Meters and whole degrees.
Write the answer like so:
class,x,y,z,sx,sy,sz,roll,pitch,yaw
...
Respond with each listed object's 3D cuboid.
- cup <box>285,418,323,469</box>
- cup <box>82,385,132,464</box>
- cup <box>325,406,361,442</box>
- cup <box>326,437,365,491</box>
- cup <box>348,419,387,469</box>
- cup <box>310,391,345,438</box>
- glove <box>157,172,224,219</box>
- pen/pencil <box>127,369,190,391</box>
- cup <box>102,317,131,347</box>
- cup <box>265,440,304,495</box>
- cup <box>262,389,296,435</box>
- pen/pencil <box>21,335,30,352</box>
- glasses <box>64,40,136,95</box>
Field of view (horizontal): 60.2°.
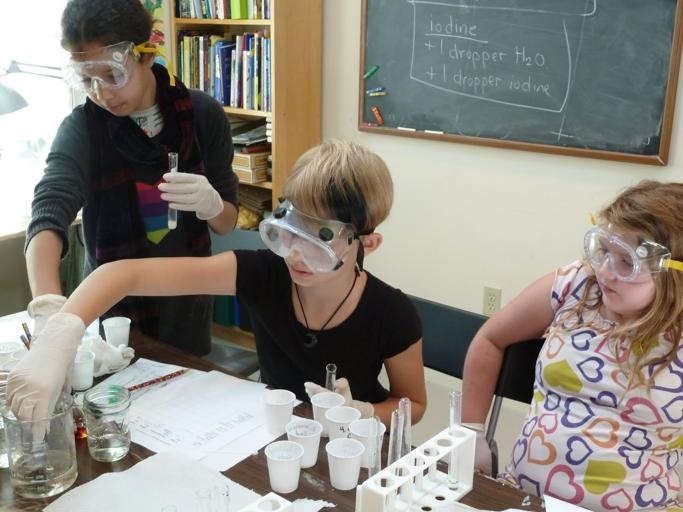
class,x,y,z,sx,sy,sz,roll,pitch,yaw
cup,-0.088,0.424,1.372,0.090,0.099,0.098,0,3,0
cup,-0.557,0.406,1.412,0.086,0.152,0.092,2,10,0
cup,0.002,0.390,1.397,0.069,0.061,0.077,1,-2,-7
cup,0.006,0.462,1.363,0.095,0.097,0.100,1,10,0
cup,0.044,0.419,1.400,0.101,0.116,0.110,-1,5,0
cup,-0.029,0.388,1.487,0.084,0.095,0.091,1,12,0
glove,-0.500,-0.214,2.013,0.169,0.156,0.266,-9,11,3
pen/pencil,-0.520,0.356,1.674,0.012,0.013,0.153,19,25,40
cup,-0.677,0.229,1.785,0.076,0.089,0.082,0,0,0
cup,-0.125,0.455,1.306,0.091,0.088,0.102,0,3,-2
cup,-0.153,0.390,1.513,0.088,0.102,0.095,3,2,0
pen/pencil,-0.872,0.243,1.635,0.012,0.046,0.011,-26,-3,14
glasses,-0.721,-0.569,1.772,0.134,0.072,0.182,-12,37,16
